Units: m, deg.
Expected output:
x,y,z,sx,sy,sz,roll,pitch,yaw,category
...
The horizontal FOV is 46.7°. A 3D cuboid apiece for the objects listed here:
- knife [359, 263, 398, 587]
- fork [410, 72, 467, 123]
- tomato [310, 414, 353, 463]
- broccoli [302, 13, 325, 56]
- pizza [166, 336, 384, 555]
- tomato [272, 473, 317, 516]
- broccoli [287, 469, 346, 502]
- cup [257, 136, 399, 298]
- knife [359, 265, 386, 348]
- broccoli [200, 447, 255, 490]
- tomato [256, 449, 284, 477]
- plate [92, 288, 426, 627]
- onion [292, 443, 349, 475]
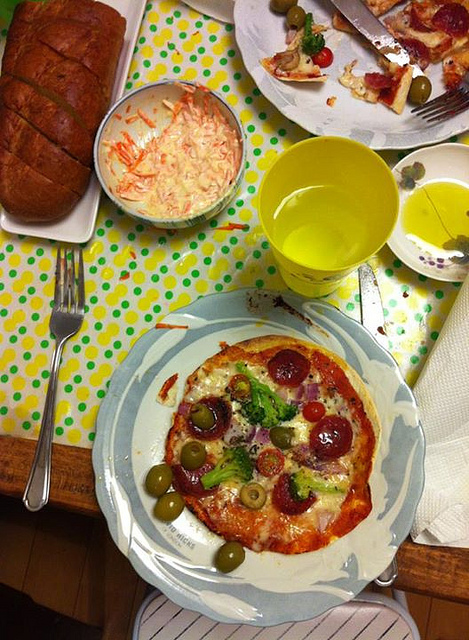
x,y,z,sx,sy,sz,roll,pitch,yaw,category
0.269,0.165,0.993,0.088,0.030,0.586,4,78,-3,knife
0.419,-0.417,1.061,0.118,0.056,0.071,-27,75,-7,fork
0.171,0.205,0.949,0.071,0.042,0.079,10,77,-4,tomato
0.155,-0.555,1.082,0.040,0.051,0.074,3,99,33,broccoli
0.069,0.214,0.963,0.377,0.083,0.377,9,73,4,pizza
0.107,0.291,0.946,0.077,0.022,0.068,16,90,-3,tomato
0.143,0.286,0.937,0.083,0.033,0.046,8,46,-7,broccoli
0.122,-0.142,0.874,0.204,0.213,0.189,1,75,-4,cup
0.271,-0.032,1.057,0.046,0.266,0.017,10,58,28,knife
-0.006,0.262,0.957,0.089,0.037,0.062,-26,66,-1,broccoli
0.063,0.249,0.950,0.043,0.013,0.050,42,78,12,tomato
0.035,0.228,0.950,0.574,0.109,0.569,-19,73,-5,plate
0.151,0.241,0.959,0.099,0.019,0.052,11,79,-7,onion
